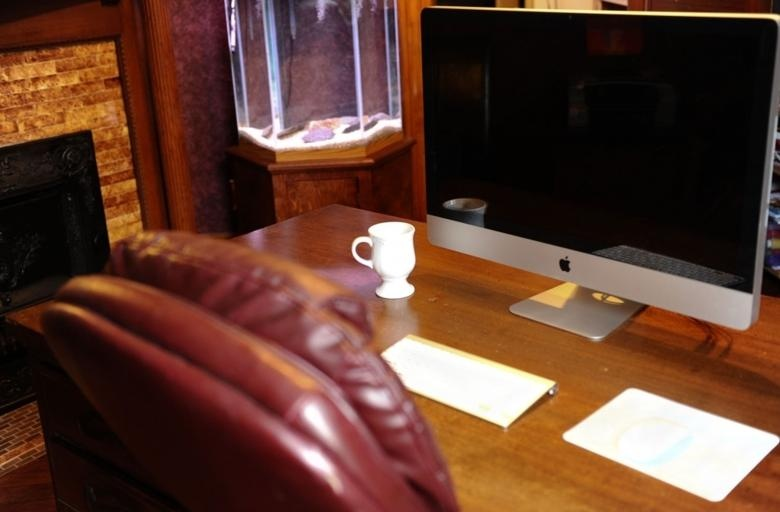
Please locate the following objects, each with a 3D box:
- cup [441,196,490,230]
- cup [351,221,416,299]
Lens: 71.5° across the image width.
[{"bbox_3d":[0.183,-0.107,1.307,0.084,0.057,0.063,-18,25,-37],"label":"cup"},{"bbox_3d":[-0.016,0.018,1.327,0.155,0.153,0.107,-2,15,4],"label":"cup"}]
